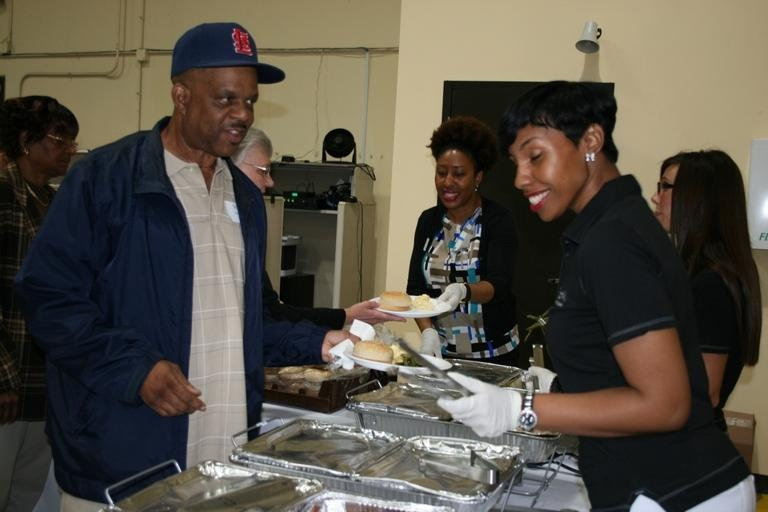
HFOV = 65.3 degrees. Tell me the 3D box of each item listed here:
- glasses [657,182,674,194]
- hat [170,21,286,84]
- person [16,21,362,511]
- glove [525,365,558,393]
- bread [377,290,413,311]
[{"bbox_3d":[1.433,-0.357,3.062,0.081,0.024,0.078,7,2,10],"label":"glasses"},{"bbox_3d":[-0.620,-0.813,2.406,0.378,0.200,0.282,0,8,12],"label":"hat"},{"bbox_3d":[-0.839,0.029,2.353,0.978,1.915,0.589,-4,6,-43],"label":"person"},{"bbox_3d":[0.716,0.554,2.677,0.048,0.118,0.134,-8,14,-32],"label":"glove"},{"bbox_3d":[0.056,0.224,3.042,0.166,0.087,0.151,1,4,4],"label":"bread"}]
